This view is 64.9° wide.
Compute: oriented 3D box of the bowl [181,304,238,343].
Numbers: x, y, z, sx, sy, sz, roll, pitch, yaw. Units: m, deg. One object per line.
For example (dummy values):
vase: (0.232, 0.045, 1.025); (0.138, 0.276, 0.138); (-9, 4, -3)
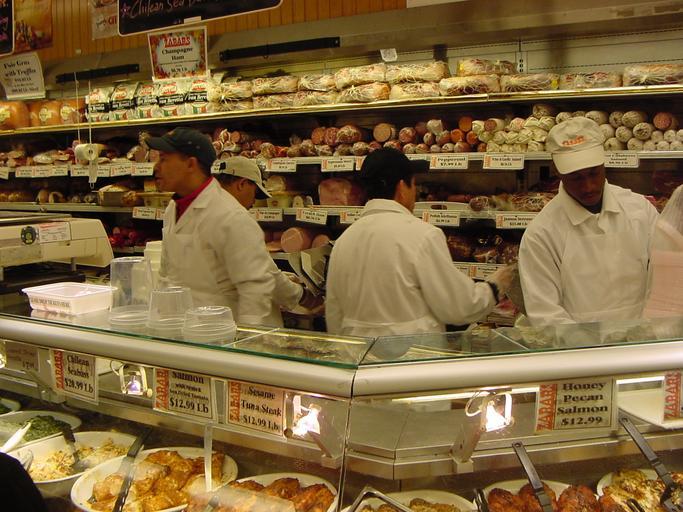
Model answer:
bowl: (-0.394, 0.202, 1.607); (0.140, 0.064, 0.121); (0, -1, -2)

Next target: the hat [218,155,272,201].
hat: (-0.569, -0.454, 3.253); (0.407, 0.166, 0.264); (9, 1, -34)

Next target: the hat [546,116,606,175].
hat: (1.084, -0.513, 2.468); (0.222, 0.268, 0.201); (-5, 10, 0)

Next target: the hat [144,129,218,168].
hat: (-0.796, -0.566, 2.761); (0.327, 0.126, 0.197); (15, 2, -24)

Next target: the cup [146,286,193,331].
cup: (-0.535, 0.168, 1.686); (0.164, 0.117, 0.141); (1, -1, 1)
